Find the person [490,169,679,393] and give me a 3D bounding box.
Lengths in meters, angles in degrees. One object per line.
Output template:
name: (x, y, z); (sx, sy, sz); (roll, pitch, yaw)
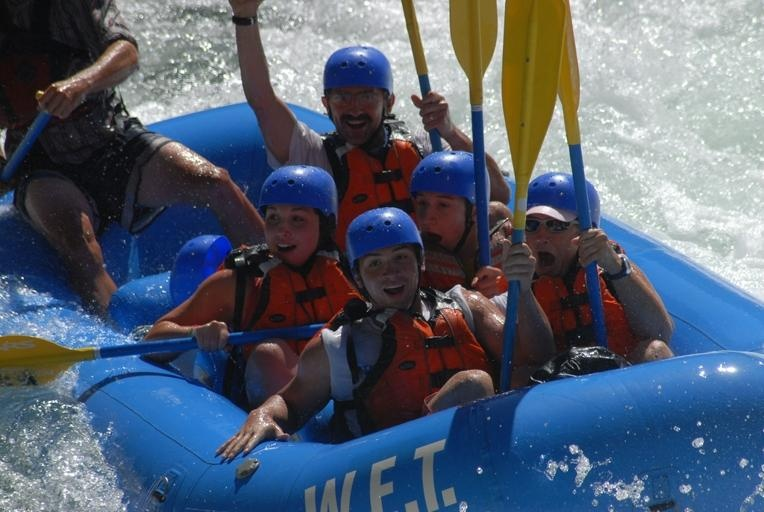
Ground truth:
person: (1.158, 0.133, 5.664); (0.682, 1.316, 0.452); (-16, -8, 4)
